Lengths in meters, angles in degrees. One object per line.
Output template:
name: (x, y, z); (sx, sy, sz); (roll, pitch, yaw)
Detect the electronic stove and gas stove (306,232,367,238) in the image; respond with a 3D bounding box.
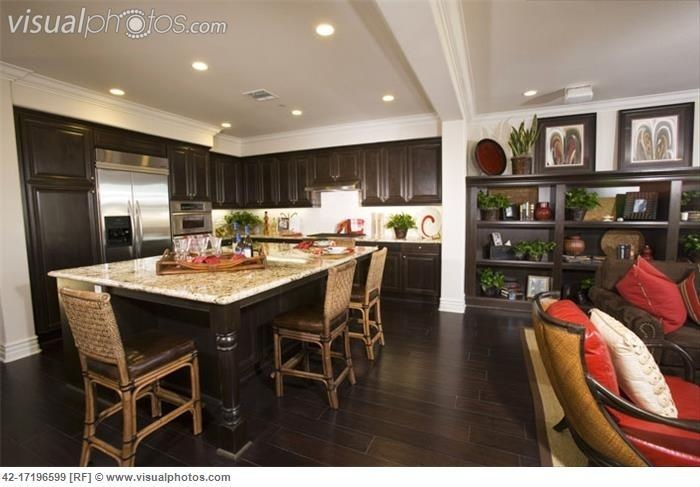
electronic stove and gas stove: (-0.203, -0.162, 7.602); (1.153, 0.067, 0.515); (4, 7, 43)

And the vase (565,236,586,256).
vase: (3.151, 0.019, 6.198); (0.279, 0.297, 0.271); (3, 8, 18)

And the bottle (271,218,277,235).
bottle: (-1.432, -0.350, 8.287); (0.117, 0.295, 0.241); (-4, 7, -20)

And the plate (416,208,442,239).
plate: (1.255, -0.336, 6.971); (0.381, 0.488, 0.324); (0, 6, 13)

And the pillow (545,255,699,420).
pillow: (2.293, 0.805, 3.764); (1.167, 1.279, 0.900); (-5, 9, 10)

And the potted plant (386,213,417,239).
potted plant: (0.807, -0.260, 7.066); (0.439, 0.378, 0.436); (1, 0, 28)

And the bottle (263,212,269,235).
bottle: (-1.571, -0.395, 8.214); (0.125, 0.428, 0.317); (-3, 6, -10)

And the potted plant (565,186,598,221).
potted plant: (3.137, -0.556, 6.062); (0.477, 0.449, 0.459); (-1, 6, -14)

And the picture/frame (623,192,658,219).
picture/frame: (3.893, -0.505, 5.846); (0.385, 0.428, 0.030); (2, -7, 25)

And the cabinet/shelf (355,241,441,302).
cabinet/shelf: (0.746, 0.394, 6.288); (0.986, 0.690, 0.374); (0, -4, 22)

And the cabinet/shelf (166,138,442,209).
cabinet/shelf: (-0.403, -1.123, 7.318); (3.710, 0.995, 0.990); (-1, 6, 8)

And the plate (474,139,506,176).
plate: (2.001, -1.248, 6.423); (0.570, 0.541, 0.094); (-9, 4, -27)

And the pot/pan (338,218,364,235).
pot/pan: (0.022, -0.308, 7.654); (0.455, 0.226, 0.244); (-1, -2, 24)

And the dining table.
dining table: (-1.030, 0.948, 4.803); (1.779, 0.991, 2.266); (-1, -1, 31)

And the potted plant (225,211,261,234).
potted plant: (-1.892, -0.379, 7.645); (0.534, 0.364, 0.546); (2, 8, 14)
